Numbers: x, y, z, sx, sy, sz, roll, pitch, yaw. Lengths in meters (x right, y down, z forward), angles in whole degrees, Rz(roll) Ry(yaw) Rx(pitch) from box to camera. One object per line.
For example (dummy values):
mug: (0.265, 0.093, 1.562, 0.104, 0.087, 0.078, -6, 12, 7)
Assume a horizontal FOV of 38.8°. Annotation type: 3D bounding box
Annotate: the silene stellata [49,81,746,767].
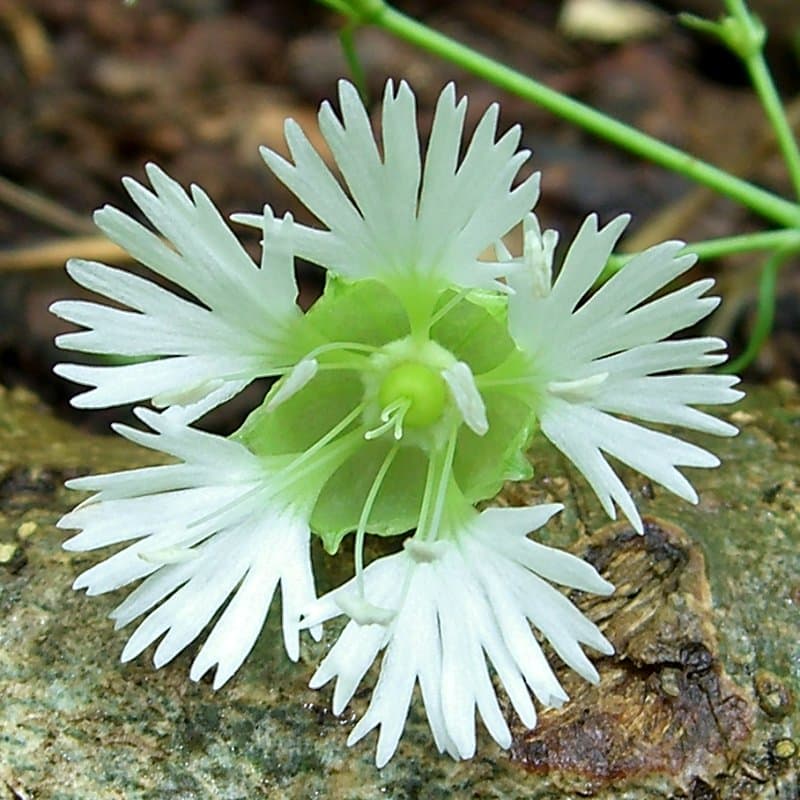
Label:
silene stellata: (-0.007, -0.031, 1.434, 0.825, 0.855, 0.307, 42, 67, 1)
